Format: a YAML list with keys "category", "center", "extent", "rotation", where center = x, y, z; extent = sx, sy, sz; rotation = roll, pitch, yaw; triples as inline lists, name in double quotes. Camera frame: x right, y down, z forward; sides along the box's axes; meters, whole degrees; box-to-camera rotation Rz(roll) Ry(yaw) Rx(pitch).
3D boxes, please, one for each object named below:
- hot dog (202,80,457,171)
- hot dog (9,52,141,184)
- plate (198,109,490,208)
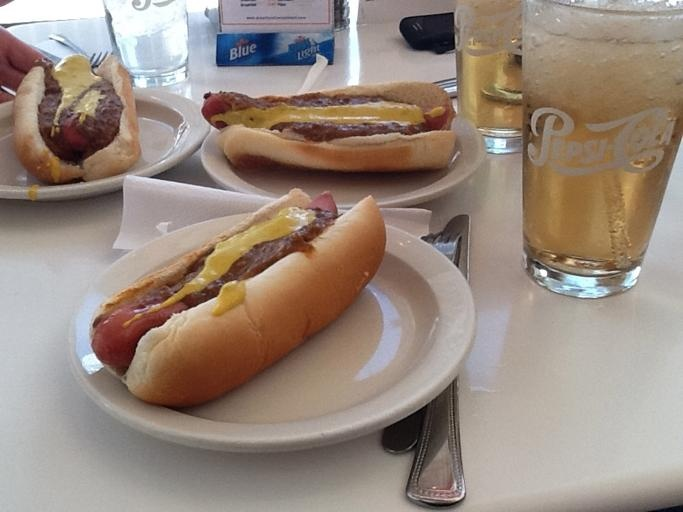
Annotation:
- category: "hot dog"
  center: [-0.014, -0.304, 1.320]
  extent: [0.537, 0.157, 0.275]
  rotation: [3, 39, 7]
- category: "hot dog"
  center: [-0.652, -0.380, 1.382]
  extent: [0.246, 0.145, 0.446]
  rotation: [-8, 40, -18]
- category: "plate"
  center: [0.009, -0.305, 1.511]
  extent: [0.528, 0.061, 0.509]
  rotation: [1, 23, 12]
